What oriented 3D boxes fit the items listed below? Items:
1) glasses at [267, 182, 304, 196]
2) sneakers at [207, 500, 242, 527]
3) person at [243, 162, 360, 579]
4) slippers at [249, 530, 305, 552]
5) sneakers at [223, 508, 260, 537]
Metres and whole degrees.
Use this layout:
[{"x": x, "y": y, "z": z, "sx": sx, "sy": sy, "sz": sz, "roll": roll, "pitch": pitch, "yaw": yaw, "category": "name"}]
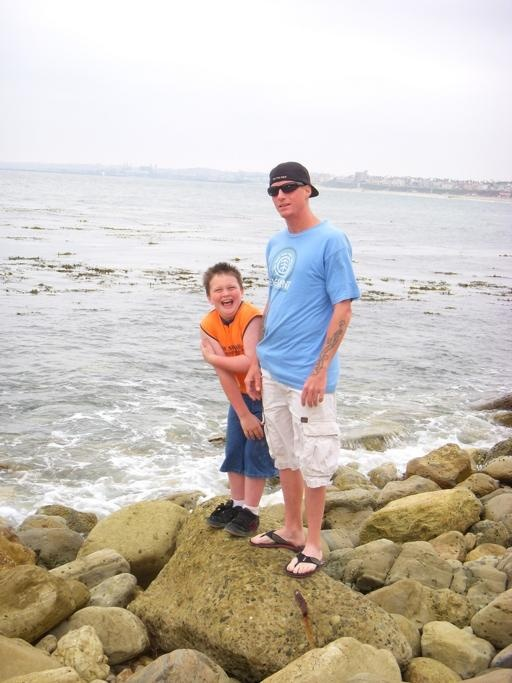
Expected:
[{"x": 0.157, "y": -0.946, "z": 3.832, "sx": 0.277, "sy": 0.077, "sz": 0.105, "roll": 7, "pitch": 9, "yaw": 37, "category": "glasses"}, {"x": -0.228, "y": 1.258, "z": 4.420, "sx": 0.124, "sy": 0.129, "sz": 0.336, "roll": 16, "pitch": 12, "yaw": 30, "category": "sneakers"}, {"x": 0.289, "y": 0.193, "z": 3.903, "sx": 0.432, "sy": 2.614, "sz": 0.682, "roll": -4, "pitch": 10, "yaw": -31, "category": "person"}, {"x": 0.147, "y": 1.362, "z": 4.161, "sx": 0.368, "sy": 0.091, "sz": 0.132, "roll": 4, "pitch": -1, "yaw": 3, "category": "slippers"}, {"x": -0.087, "y": 1.268, "z": 4.265, "sx": 0.131, "sy": 0.127, "sz": 0.291, "roll": 28, "pitch": 0, "yaw": 16, "category": "sneakers"}]
